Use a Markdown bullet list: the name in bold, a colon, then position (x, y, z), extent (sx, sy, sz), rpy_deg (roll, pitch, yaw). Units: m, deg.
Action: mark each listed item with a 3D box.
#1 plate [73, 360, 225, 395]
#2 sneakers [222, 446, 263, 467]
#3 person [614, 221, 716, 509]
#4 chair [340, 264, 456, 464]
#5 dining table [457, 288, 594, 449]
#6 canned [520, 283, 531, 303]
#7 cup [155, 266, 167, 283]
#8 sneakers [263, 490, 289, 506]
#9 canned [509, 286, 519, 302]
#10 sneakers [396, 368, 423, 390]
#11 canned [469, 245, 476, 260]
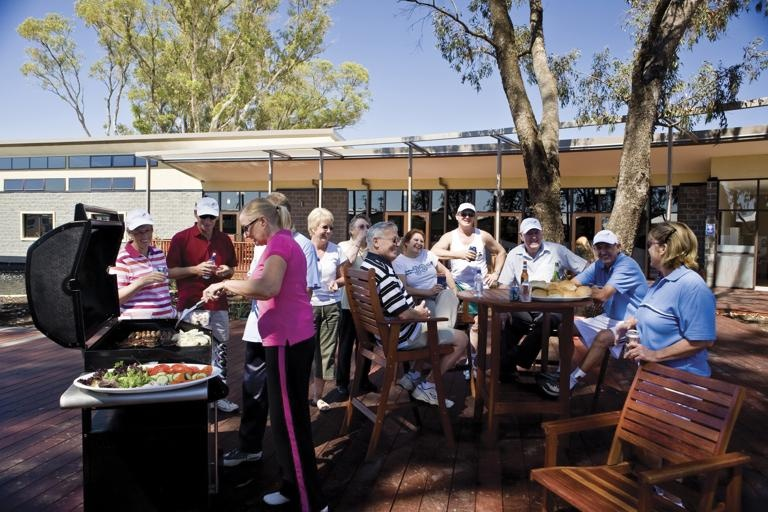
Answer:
- **plate**: position (-1.809, 0.904, 4.102), extent (1.042, 0.147, 0.439), rpy_deg (-3, 5, -10)
- **sneakers**: position (-1.367, 1.911, 5.160), extent (0.407, 0.168, 0.152), rpy_deg (4, -5, -14)
- **person**: position (2.543, 0.702, 4.831), extent (0.709, 1.984, 0.855), rpy_deg (-2, 2, -11)
- **chair**: position (0.060, 1.011, 5.657), extent (0.995, 1.865, 1.275), rpy_deg (-6, 7, -32)
- **dining table**: position (1.457, 1.180, 5.857), extent (1.171, 1.324, 1.169), rpy_deg (-1, -2, 28)
- **canned**: position (1.461, 0.369, 5.478), extent (0.091, 0.188, 0.080), rpy_deg (-1, 6, 11)
- **cup**: position (-2.259, 0.189, 5.422), extent (0.127, 0.203, 0.129), rpy_deg (-2, 10, 0)
- **sneakers**: position (-0.934, 2.082, 4.677), extent (0.205, 0.090, 0.138), rpy_deg (5, 16, -16)
- **canned**: position (1.373, 0.399, 5.598), extent (0.120, 0.230, 0.140), rpy_deg (2, 0, 14)
- **sneakers**: position (0.286, 1.300, 5.686), extent (0.122, 0.147, 0.322), rpy_deg (27, -8, 24)
- **canned**: position (1.227, -0.039, 7.266), extent (0.095, 0.181, 0.043), rpy_deg (2, -15, -5)
